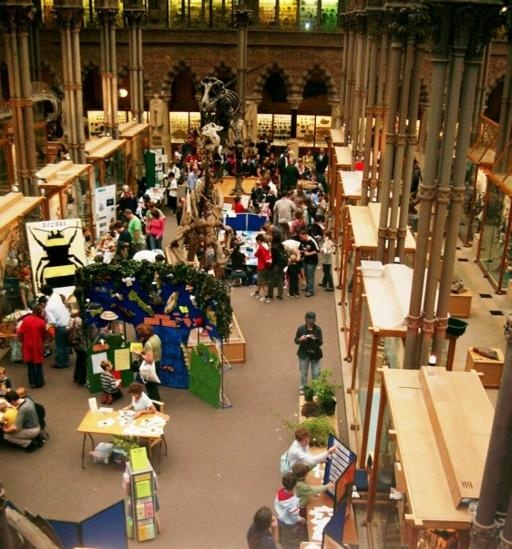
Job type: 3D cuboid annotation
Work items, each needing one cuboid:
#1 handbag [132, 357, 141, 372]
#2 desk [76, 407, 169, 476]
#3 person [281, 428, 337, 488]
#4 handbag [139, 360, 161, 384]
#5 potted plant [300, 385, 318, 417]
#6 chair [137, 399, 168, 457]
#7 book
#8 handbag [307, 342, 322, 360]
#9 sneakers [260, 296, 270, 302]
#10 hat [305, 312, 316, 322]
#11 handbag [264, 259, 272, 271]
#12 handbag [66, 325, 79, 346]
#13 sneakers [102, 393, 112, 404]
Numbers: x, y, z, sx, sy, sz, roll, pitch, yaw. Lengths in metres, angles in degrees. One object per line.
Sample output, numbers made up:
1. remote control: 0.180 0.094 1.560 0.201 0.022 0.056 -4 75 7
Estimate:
1. handbag: -2.237 1.683 9.128 0.184 0.210 0.234 2 10 0
2. desk: -1.867 2.498 7.193 1.478 0.712 0.800 2 51 0
3. person: 0.609 2.217 5.772 0.629 0.840 0.379 10 22 19
4. handbag: -1.754 1.565 7.956 0.268 0.508 0.304 -5 19 -16
5. potted plant: 0.822 1.904 7.376 0.314 0.470 0.202 -3 -15 14
6. chair: -1.521 2.412 7.415 0.406 0.429 0.404 -25 27 -37
7. book: -1.337 2.540 5.676 0.378 1.104 0.396 -5 19 -15
8. handbag: 1.019 1.296 8.299 0.236 0.376 0.151 0 19 -1
9. sneakers: 0.236 0.614 12.605 0.255 0.115 0.111 13 16 33
10. hat: 0.891 0.684 7.914 0.141 0.098 0.188 1 15 -3
11. handbag: 0.327 -0.278 12.244 0.205 0.196 0.157 -3 6 -26
12. handbag: -3.262 1.096 8.731 0.239 0.322 0.077 -2 -1 35
13. sneakers: -2.556 2.140 8.376 0.114 0.088 0.204 2 25 -6
